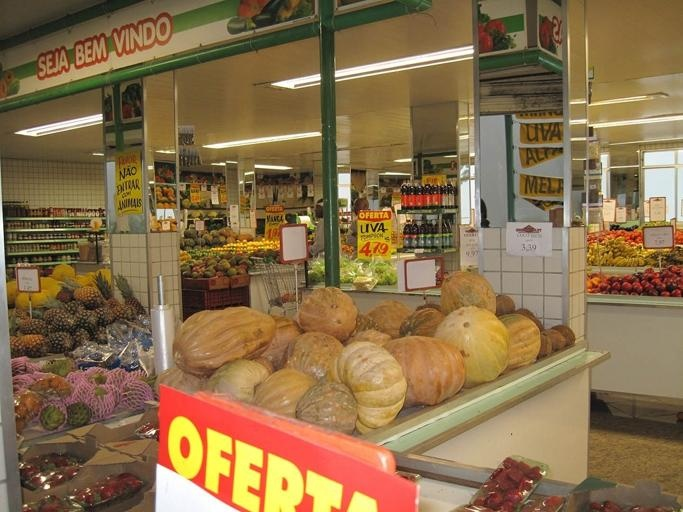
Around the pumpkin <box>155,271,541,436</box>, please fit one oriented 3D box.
[{"bbox_3d":[0.083,0.379,2.034,0.670,0.327,1.124,3,4,40],"label":"pumpkin"}]
